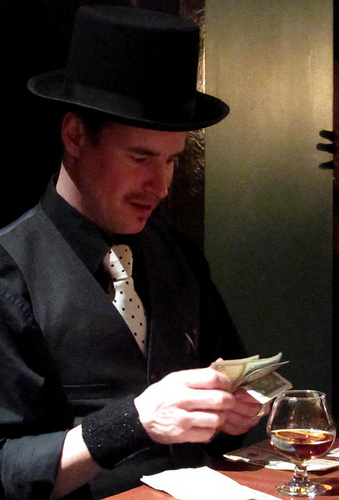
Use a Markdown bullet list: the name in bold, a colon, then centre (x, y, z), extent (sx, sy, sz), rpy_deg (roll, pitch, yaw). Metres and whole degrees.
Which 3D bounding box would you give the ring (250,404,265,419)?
- **ring**: centre (0.250, 0.449, 1.483), extent (0.041, 0.009, 0.042), rpy_deg (-24, -19, -9)

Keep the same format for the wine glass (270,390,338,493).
- **wine glass**: centre (0.291, 0.406, 1.131), extent (0.136, 0.192, 0.236), rpy_deg (-7, -13, 14)

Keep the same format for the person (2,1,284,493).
- **person**: centre (-0.073, -0.054, 1.533), extent (0.670, 1.344, 0.716), rpy_deg (-14, -17, 37)
